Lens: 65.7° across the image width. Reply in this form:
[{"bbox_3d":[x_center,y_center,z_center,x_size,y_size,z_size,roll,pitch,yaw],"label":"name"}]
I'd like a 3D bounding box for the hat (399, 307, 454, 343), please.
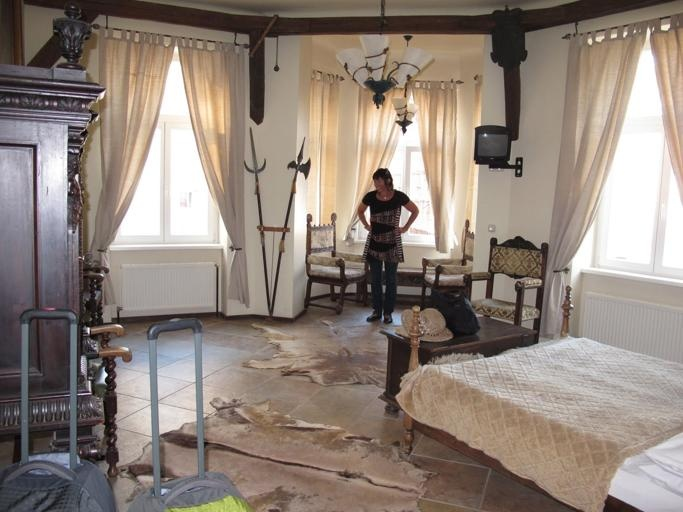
[{"bbox_3d":[0.634,0.477,4.096,0.323,0.139,0.320,-5,8,-32],"label":"hat"}]

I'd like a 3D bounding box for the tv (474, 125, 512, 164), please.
[{"bbox_3d":[1.627,-1.204,5.729,0.390,0.394,0.222,1,4,10],"label":"tv"}]

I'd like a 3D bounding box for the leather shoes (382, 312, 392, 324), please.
[{"bbox_3d":[0.559,0.781,6.607,0.090,0.103,0.134,0,3,-5],"label":"leather shoes"}]

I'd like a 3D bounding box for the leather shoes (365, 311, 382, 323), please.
[{"bbox_3d":[0.407,0.769,6.793,0.089,0.119,0.259,0,-1,34],"label":"leather shoes"}]

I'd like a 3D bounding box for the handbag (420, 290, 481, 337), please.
[{"bbox_3d":[0.934,0.466,4.381,0.426,0.440,0.277,-16,-4,28],"label":"handbag"}]
